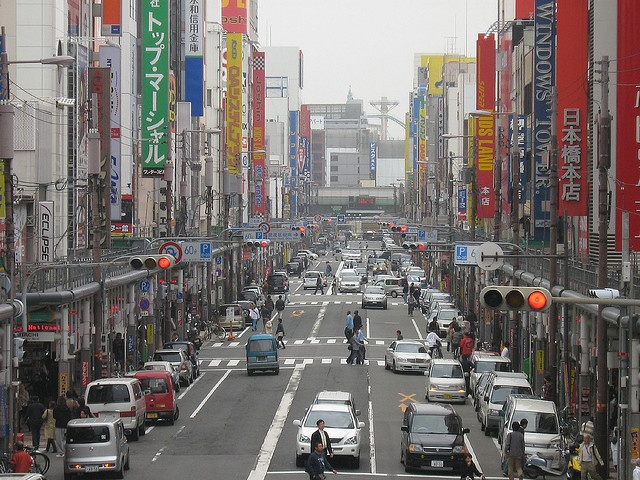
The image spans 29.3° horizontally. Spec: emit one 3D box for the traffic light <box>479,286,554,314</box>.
[{"bbox_3d":[5.280,1.601,32.994,2.007,0.740,0.413,-3,4,-17],"label":"traffic light"}]

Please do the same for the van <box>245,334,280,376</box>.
[{"bbox_3d":[-2.830,5.718,61.295,1.070,1.272,2.179,-1,6,0],"label":"van"}]

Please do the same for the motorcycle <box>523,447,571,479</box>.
[{"bbox_3d":[7.854,7.807,42.351,1.480,1.155,0.783,3,1,-37],"label":"motorcycle"}]

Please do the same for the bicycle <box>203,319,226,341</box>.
[{"bbox_3d":[-6.764,5.857,78.284,0.800,1.200,1.677,-5,-10,41],"label":"bicycle"}]

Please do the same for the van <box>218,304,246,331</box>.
[{"bbox_3d":[-5.702,4.980,80.079,1.020,1.120,2.012,0,9,1],"label":"van"}]

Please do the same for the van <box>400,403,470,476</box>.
[{"bbox_3d":[3.996,7.033,43.967,1.432,1.494,2.771,0,-5,-1],"label":"van"}]

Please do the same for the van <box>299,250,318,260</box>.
[{"bbox_3d":[-1.462,1.948,152.336,1.048,0.957,2.498,2,6,10],"label":"van"}]

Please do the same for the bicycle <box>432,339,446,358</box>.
[{"bbox_3d":[6.241,5.715,64.331,0.595,0.769,1.102,0,5,7],"label":"bicycle"}]

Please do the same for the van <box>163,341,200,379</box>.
[{"bbox_3d":[-6.802,5.858,61.432,1.037,1.247,2.045,0,5,6],"label":"van"}]

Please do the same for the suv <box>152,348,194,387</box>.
[{"bbox_3d":[-6.927,6.032,59.156,1.006,1.257,2.327,0,6,2],"label":"suv"}]

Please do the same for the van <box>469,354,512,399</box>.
[{"bbox_3d":[7.525,5.940,55.213,1.120,1.385,2.301,0,-7,-4],"label":"van"}]

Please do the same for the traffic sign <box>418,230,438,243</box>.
[{"bbox_3d":[7.745,-0.421,87.782,1.309,0.902,0.932,-3,-8,7],"label":"traffic sign"}]

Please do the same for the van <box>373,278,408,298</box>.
[{"bbox_3d":[6.083,4.147,104.727,1.990,1.227,1.560,3,2,2],"label":"van"}]

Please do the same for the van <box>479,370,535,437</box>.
[{"bbox_3d":[7.224,6.484,48.916,1.304,1.559,2.660,0,-1,3],"label":"van"}]

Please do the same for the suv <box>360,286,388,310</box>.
[{"bbox_3d":[4.083,4.456,91.141,1.781,1.679,2.204,-2,3,1],"label":"suv"}]

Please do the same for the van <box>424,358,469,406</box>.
[{"bbox_3d":[5.625,6.364,54.389,1.567,1.955,1.529,-3,0,11],"label":"van"}]

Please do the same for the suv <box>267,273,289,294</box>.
[{"bbox_3d":[-3.556,3.751,104.085,1.463,1.819,3.081,-1,3,7],"label":"suv"}]
